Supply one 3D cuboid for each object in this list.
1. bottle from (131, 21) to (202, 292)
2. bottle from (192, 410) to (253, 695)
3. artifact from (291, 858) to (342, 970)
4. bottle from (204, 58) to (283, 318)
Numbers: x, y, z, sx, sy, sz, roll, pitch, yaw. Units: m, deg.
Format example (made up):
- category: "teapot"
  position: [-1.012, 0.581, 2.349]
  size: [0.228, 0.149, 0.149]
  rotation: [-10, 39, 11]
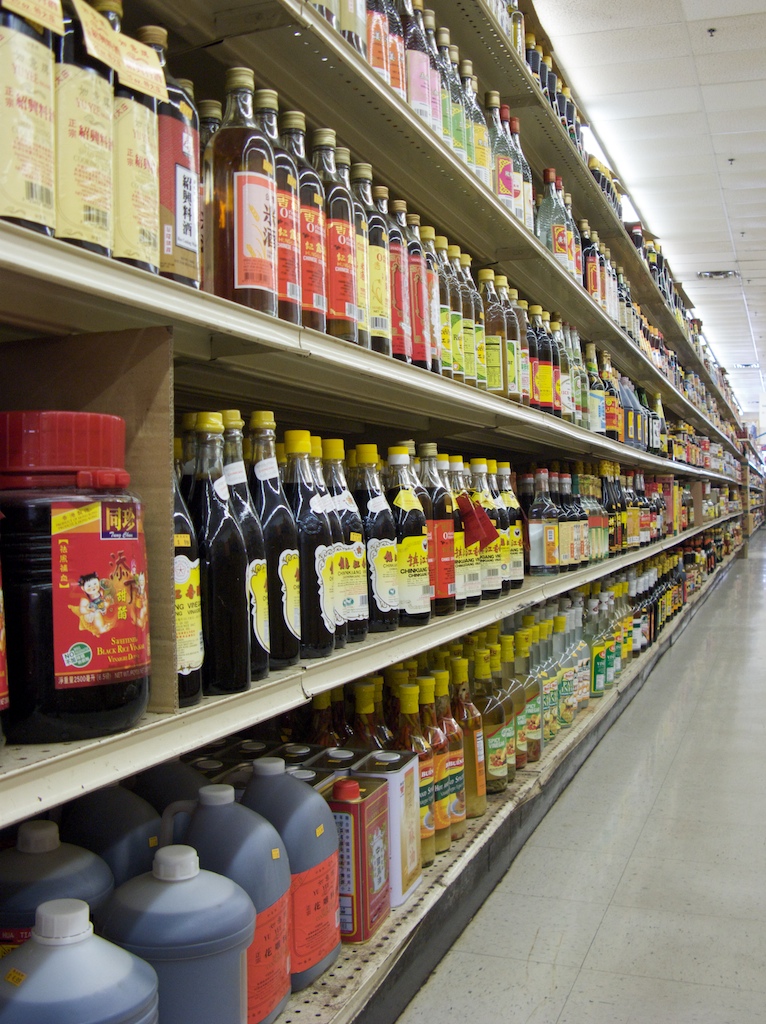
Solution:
- category: "bottle"
  position: [-0.242, -0.391, 0.961]
  size: [0.019, 0.243, 0.087]
  rotation: [-1, -1, 15]
- category: "bottle"
  position: [-0.224, 0.064, 1.112]
  size: [0.076, 0.350, 0.087]
  rotation: [-1, -1, -14]
- category: "artifact"
  position: [-0.098, 0.617, 1.275]
  size: [0.047, 0.176, 0.187]
  rotation: [-1, -1, 10]
- category: "bottle"
  position: [-0.202, -0.400, 1.117]
  size: [0.101, 0.261, 0.064]
  rotation: [-1, -1, 4]
